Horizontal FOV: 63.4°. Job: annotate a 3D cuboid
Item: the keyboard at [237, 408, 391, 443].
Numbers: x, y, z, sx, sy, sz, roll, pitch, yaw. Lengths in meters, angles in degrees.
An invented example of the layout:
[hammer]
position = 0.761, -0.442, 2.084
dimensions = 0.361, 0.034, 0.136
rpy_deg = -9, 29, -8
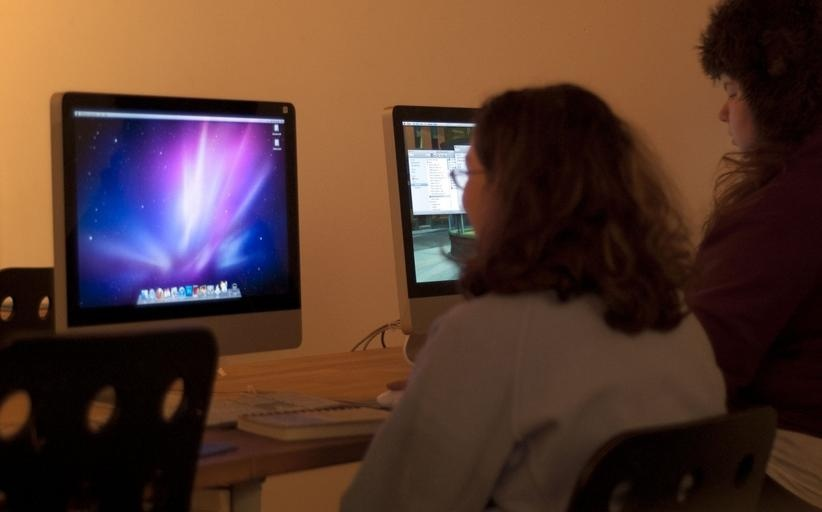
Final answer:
[keyboard]
position = -0.196, 0.365, 1.457
dimensions = 0.185, 0.031, 0.132
rpy_deg = 2, -4, -36

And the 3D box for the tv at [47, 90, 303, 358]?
[tv]
position = -0.608, -0.078, 1.689
dimensions = 0.738, 0.757, 0.077
rpy_deg = -1, -3, -26
